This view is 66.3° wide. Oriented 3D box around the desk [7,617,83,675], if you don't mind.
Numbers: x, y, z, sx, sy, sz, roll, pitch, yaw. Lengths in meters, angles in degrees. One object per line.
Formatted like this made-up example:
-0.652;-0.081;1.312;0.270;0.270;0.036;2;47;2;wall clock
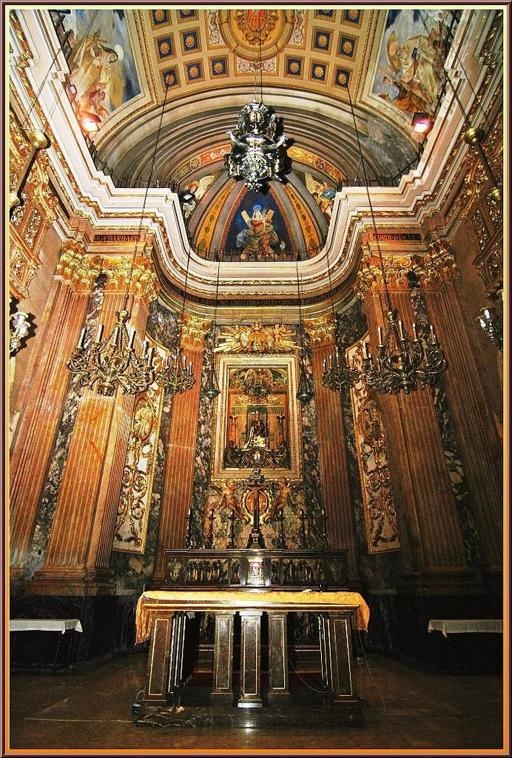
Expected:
-2.428;2.967;4.408;0.780;0.485;0.741;10;-32;-17;desk

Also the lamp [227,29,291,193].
0.013;-3.365;5.416;0.911;1.277;1.075;-1;-29;2;lamp

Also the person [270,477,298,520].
0.569;2.498;8.162;0.614;0.969;0.219;1;-26;10;person

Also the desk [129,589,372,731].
-0.030;2.348;3.545;1.697;0.850;2.168;-2;-31;2;desk

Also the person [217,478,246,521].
-0.527;2.529;8.182;0.612;0.811;0.259;1;-24;-14;person
